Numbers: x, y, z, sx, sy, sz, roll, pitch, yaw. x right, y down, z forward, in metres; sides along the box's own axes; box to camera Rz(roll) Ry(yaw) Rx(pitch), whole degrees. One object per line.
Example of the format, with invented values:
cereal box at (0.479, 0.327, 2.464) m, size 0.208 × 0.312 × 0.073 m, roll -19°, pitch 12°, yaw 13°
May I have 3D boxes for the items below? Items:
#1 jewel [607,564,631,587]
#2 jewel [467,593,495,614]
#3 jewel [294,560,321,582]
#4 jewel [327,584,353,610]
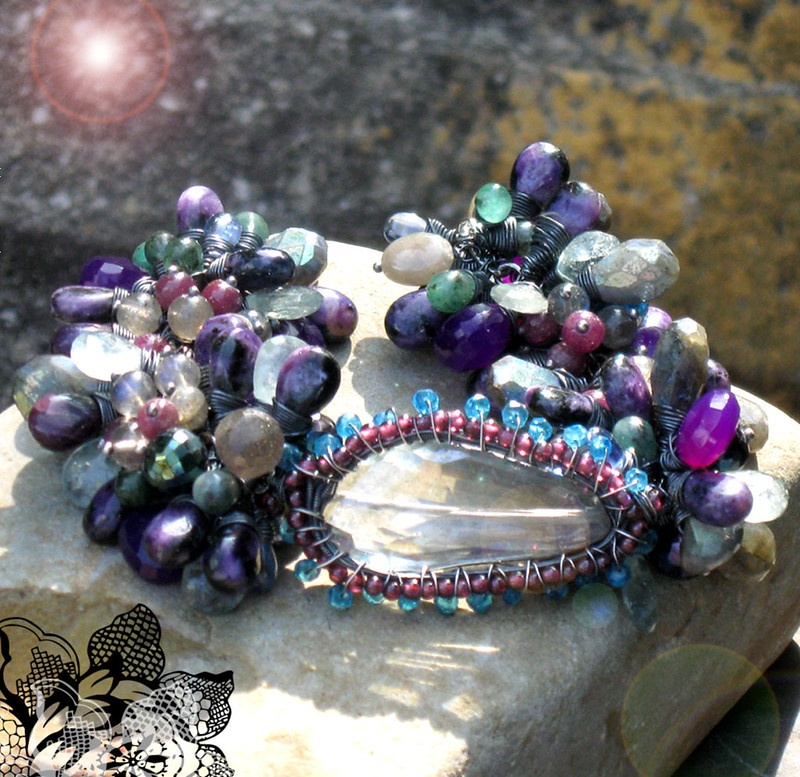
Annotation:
jewel at (0.339, 0.291, 2.169) m, size 0.037 × 0.020 × 0.033 m, roll -2°, pitch 89°, yaw -4°
jewel at (0.129, 0.333, 2.180) m, size 0.042 × 0.054 × 0.022 m, roll -11°, pitch 64°, yaw -4°
jewel at (-0.144, 0.284, 2.189) m, size 0.034 × 0.035 × 0.031 m, roll -37°, pitch 69°, yaw -16°
jewel at (-0.092, 0.322, 2.172) m, size 0.034 × 0.026 × 0.033 m, roll 10°, pitch 64°, yaw 6°
